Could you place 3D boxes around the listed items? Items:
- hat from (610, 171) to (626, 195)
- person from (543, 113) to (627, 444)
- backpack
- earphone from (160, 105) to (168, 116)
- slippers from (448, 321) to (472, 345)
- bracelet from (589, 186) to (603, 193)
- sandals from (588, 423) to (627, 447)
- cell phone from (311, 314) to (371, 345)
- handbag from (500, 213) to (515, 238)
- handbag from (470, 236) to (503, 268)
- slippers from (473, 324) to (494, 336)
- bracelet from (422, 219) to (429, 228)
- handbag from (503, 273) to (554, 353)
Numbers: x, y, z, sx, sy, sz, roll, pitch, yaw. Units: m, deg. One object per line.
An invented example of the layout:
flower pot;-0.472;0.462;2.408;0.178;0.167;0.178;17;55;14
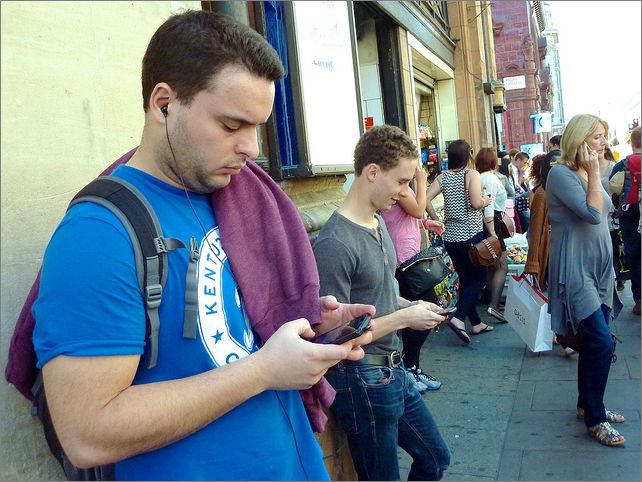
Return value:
hat;4.253;-0.827;6.639;0.189;0.243;0.280;1;-4;4
person;2.185;0.259;3.861;0.560;2.622;0.638;-1;6;35
backpack;-0.639;0.295;1.387;0.579;0.961;0.193;-2;6;26
earphone;-0.460;-0.380;1.356;0.018;0.030;0.008;5;3;13
slippers;1.807;1.163;6.043;0.219;0.392;0.317;-1;7;34
bracelet;2.162;-0.401;3.640;0.100;0.033;0.051;-6;6;-5
sandals;2.269;1.506;3.666;0.118;0.100;0.226;-5;1;-21
cell phone;0.073;0.315;1.659;0.231;0.028;0.144;-25;5;38
handbag;2.866;-0.230;7.171;0.114;0.326;0.297;-13;2;32
handbag;2.147;0.137;5.913;0.378;0.302;0.205;-25;3;-10
slippers;2.264;1.228;6.470;0.283;0.126;0.136;-15;14;-28
bracelet;1.226;-0.204;5.443;0.075;0.091;0.076;10;49;19
handbag;2.189;0.764;4.864;0.246;0.881;0.735;-11;27;-5
